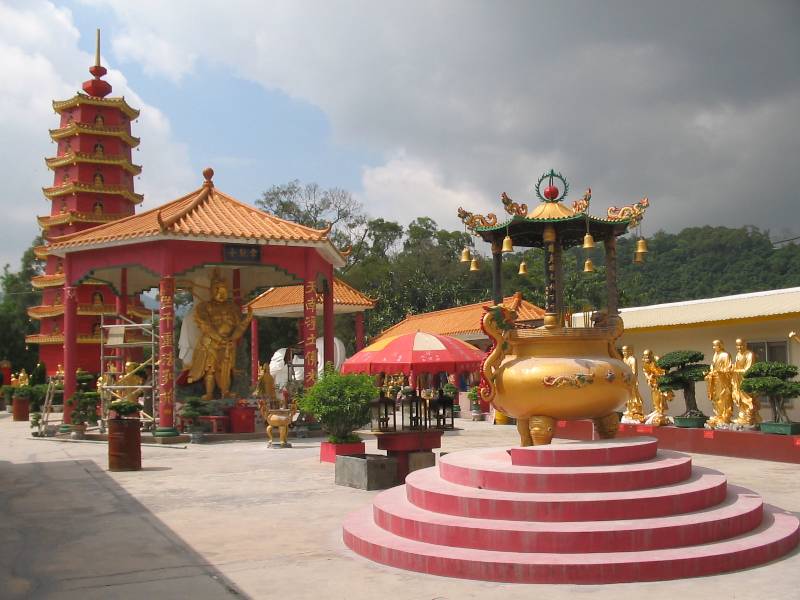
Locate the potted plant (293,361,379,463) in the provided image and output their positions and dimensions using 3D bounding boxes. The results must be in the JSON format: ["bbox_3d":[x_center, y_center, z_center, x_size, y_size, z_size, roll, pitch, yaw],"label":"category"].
[{"bbox_3d":[-0.994,1.824,14.618,1.326,1.653,1.493,0,-2,-26],"label":"potted plant"}]

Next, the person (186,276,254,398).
[{"bbox_3d":[-4.424,0.895,21.237,1.465,2.158,0.834,-8,4,-21],"label":"person"}]

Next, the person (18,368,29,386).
[{"bbox_3d":[-16.784,3.425,39.793,0.644,0.888,0.640,0,-5,-15],"label":"person"}]

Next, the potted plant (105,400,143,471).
[{"bbox_3d":[-4.523,2.213,14.612,0.582,0.918,0.696,-7,4,-18],"label":"potted plant"}]

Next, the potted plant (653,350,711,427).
[{"bbox_3d":[5.202,1.616,16.492,0.902,1.397,1.147,8,-15,-32],"label":"potted plant"}]

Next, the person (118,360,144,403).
[{"bbox_3d":[-5.967,2.008,20.195,0.617,0.995,0.593,-1,-2,-10],"label":"person"}]
